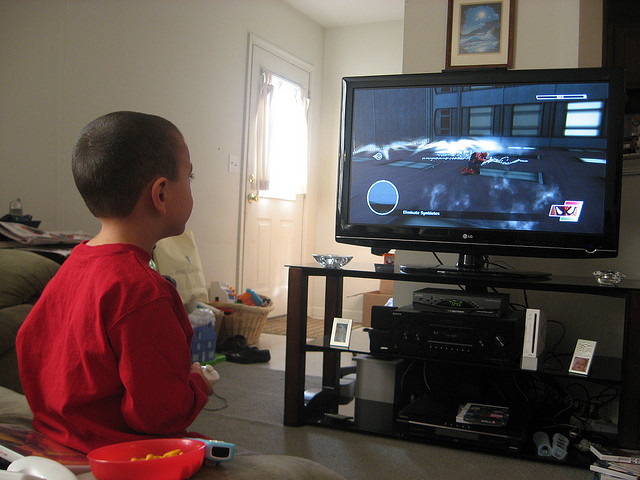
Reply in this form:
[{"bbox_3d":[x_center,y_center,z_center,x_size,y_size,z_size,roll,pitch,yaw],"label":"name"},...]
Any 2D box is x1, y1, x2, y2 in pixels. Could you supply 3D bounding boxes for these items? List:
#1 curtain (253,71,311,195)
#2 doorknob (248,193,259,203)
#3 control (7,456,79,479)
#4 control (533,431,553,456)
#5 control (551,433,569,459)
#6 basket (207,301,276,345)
[{"bbox_3d":[-0.350,-0.989,4.905,0.202,1.125,0.837,4,13,24],"label":"curtain"},{"bbox_3d":[-0.586,-0.385,4.671,0.034,0.084,0.145,4,13,23],"label":"doorknob"},{"bbox_3d":[-0.477,0.391,0.897,0.059,0.015,0.061,18,3,44],"label":"control"},{"bbox_3d":[0.887,0.806,2.078,0.035,0.034,0.095,-4,19,14],"label":"control"},{"bbox_3d":[0.943,0.804,2.055,0.039,0.037,0.138,13,13,21],"label":"control"},{"bbox_3d":[-0.594,0.605,3.886,0.393,0.271,0.541,3,-7,16],"label":"basket"}]
